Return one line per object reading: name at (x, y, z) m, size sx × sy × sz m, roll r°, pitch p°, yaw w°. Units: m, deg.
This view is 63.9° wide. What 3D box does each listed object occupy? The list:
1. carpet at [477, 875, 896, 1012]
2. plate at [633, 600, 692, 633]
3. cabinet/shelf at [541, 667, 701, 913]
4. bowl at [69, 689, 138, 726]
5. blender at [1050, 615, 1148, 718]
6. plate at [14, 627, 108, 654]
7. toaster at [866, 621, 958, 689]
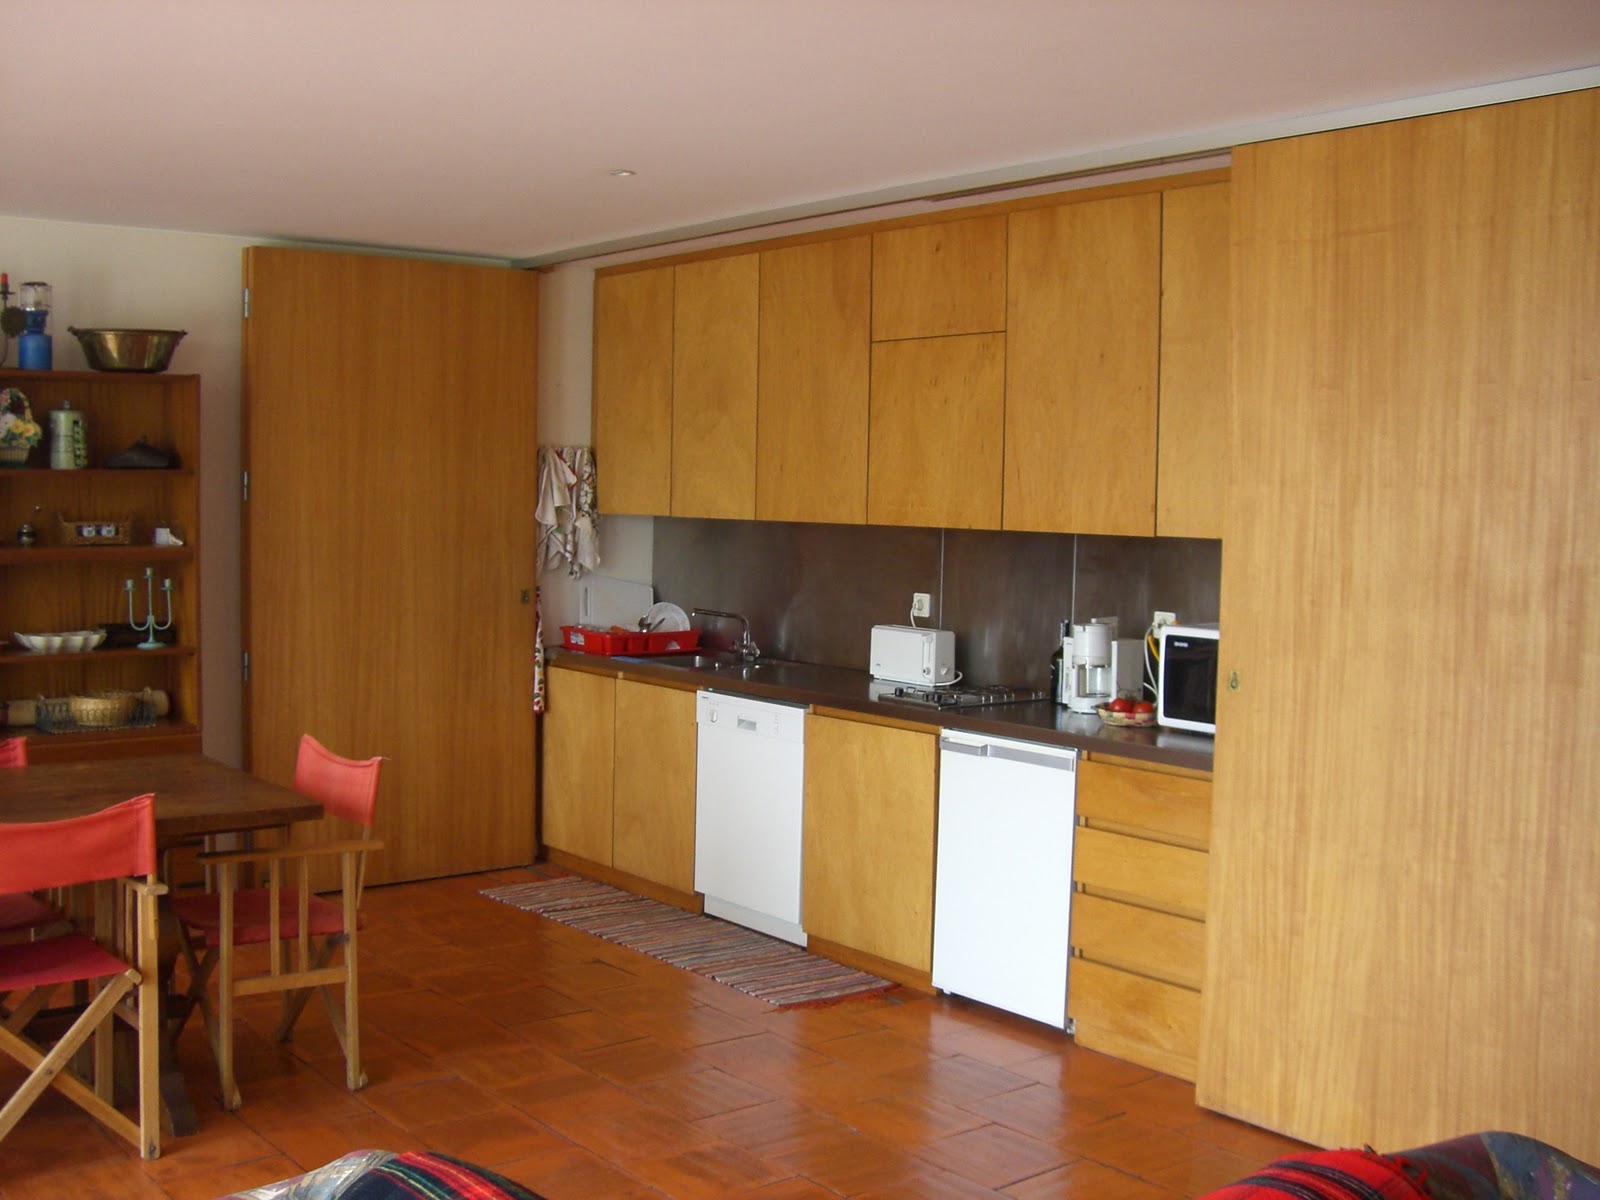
carpet at (-1.205, 1.738, 7.253) m, size 1.466 × 0.063 × 4.947 m, roll 14°, pitch -13°, yaw -20°
plate at (-0.730, 0.083, 6.988) m, size 0.284 × 0.150 × 0.329 m, roll 1°, pitch 4°, yaw -7°
cabinet/shelf at (-0.839, 0.923, 6.228) m, size 1.210 × 0.900 × 0.414 m, roll 4°, pitch 2°, yaw 43°
bowl at (-3.072, 0.473, 5.680) m, size 0.169 × 0.075 × 0.175 m, roll 0°, pitch 2°, yaw 0°
blender at (1.215, 0.255, 4.974) m, size 0.281 × 0.318 × 0.266 m, roll -3°, pitch -4°, yaw 34°
plate at (-3.245, 0.176, 5.584) m, size 0.394 × 0.089 × 0.210 m, roll 1°, pitch 4°, yaw -11°
toaster at (0.469, 0.160, 5.442) m, size 0.248 × 0.275 × 0.433 m, roll -5°, pitch 8°, yaw -44°
